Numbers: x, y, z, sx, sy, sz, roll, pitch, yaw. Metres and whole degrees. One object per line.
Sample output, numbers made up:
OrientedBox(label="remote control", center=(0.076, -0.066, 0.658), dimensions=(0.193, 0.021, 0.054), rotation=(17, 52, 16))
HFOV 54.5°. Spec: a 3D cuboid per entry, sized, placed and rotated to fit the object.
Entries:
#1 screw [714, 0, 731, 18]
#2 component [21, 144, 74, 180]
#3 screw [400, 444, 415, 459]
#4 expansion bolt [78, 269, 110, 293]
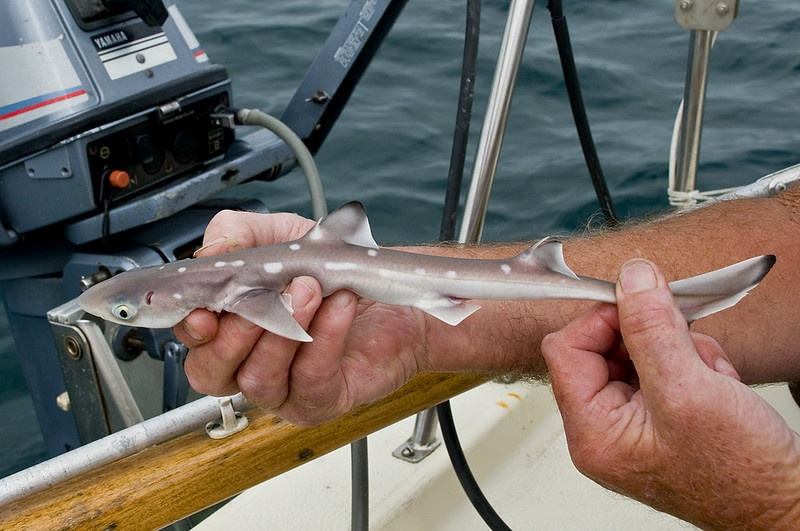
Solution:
OrientedBox(label="screw", center=(1.215, -0.971, 2.933), dimensions=(0.036, 0.044, 0.040), rotation=(-21, 46, -11))
OrientedBox(label="component", center=(-1.597, -0.479, 3.516), dimensions=(0.188, 0.121, 0.029), rotation=(-4, 36, 7))
OrientedBox(label="screw", center=(0.030, 0.755, 3.138), dimensions=(0.049, 0.019, 0.044), rotation=(-3, 27, -3))
OrientedBox(label="expansion bolt", center=(-1.211, 0.056, 3.069), dimensions=(0.095, 0.052, 0.068), rotation=(-29, 34, -30))
